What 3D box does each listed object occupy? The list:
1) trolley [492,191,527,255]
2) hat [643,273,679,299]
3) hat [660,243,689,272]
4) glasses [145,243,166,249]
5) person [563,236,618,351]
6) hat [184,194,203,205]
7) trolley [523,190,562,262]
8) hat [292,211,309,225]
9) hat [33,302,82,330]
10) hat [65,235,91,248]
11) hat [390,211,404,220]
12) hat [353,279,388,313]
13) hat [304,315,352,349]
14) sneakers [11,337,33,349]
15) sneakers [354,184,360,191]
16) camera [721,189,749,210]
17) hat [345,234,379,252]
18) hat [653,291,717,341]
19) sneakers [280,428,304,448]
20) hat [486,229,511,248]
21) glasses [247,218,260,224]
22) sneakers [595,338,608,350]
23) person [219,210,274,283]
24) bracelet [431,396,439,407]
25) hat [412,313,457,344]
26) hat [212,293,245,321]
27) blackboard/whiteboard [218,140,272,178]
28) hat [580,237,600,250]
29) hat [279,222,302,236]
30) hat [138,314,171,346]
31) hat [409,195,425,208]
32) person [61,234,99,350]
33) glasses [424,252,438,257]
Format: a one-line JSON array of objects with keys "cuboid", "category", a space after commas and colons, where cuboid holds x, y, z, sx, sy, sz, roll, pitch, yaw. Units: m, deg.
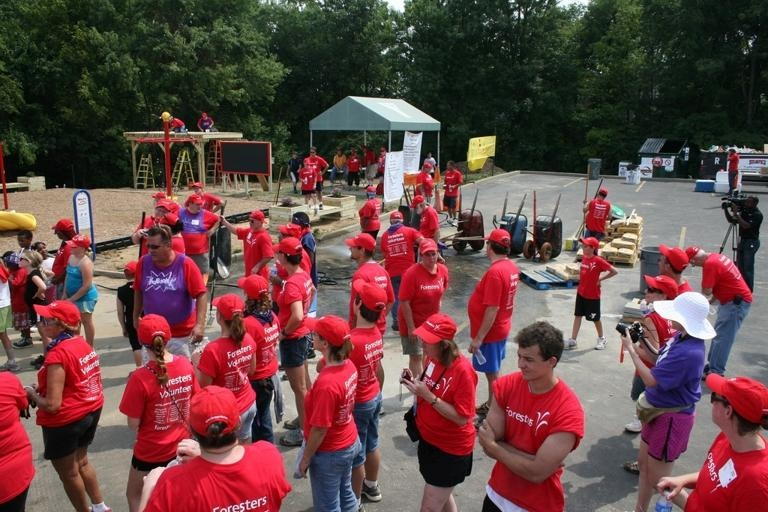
[{"cuboid": [3.693, -0.980, 19.352, 0.847, 1.329, 1.380, 10, 5, 15], "category": "trolley"}, {"cuboid": [4.227, 0.488, 10.007, 0.508, 0.278, 0.333, 23, 30, 23], "category": "hat"}, {"cuboid": [4.728, 0.075, 10.632, 0.353, 0.386, 0.741, 4, 8, 21], "category": "hat"}, {"cuboid": [-3.514, -0.122, 9.965, 0.251, 0.072, 0.111, 2, 8, 3], "category": "glasses"}, {"cuboid": [4.157, 0.775, 13.071, 0.827, 2.229, 0.942, 4, 8, 20], "category": "person"}, {"cuboid": [-3.931, -1.162, 13.794, 0.295, 0.255, 0.473, 3, 10, 12], "category": "hat"}, {"cuboid": [4.719, -0.850, 19.341, 1.064, 1.997, 1.755, 3, 8, 14], "category": "trolley"}, {"cuboid": [-1.639, -0.721, 12.602, 0.295, 0.160, 0.213, 28, 17, 23], "category": "hat"}, {"cuboid": [-4.268, 0.751, 8.605, 0.536, 0.289, 0.344, 25, 8, -30], "category": "hat"}, {"cuboid": [-5.474, -0.229, 11.702, 0.331, 0.189, 0.245, 10, 21, -24], "category": "hat"}, {"cuboid": [0.264, -0.828, 13.843, 0.237, 0.181, 0.399, 10, 0, 4], "category": "hat"}, {"cuboid": [-0.171, 0.576, 8.812, 0.338, 0.321, 0.341, -1, 8, -16], "category": "hat"}, {"cuboid": [-0.710, 0.931, 8.201, 0.495, 0.254, 0.323, 24, 20, 20], "category": "hat"}, {"cuboid": [-7.117, 1.771, 12.840, 0.369, 0.186, 0.161, -1, 11, -28], "category": "sneakers"}, {"cuboid": [-1.405, -3.546, 34.480, 0.269, 0.321, 0.275, 1, -2, -8], "category": "sneakers"}, {"cuboid": [7.973, -1.222, 14.888, 0.544, 0.372, 0.790, -1, 6, 6], "category": "camera"}, {"cuboid": [-0.414, -0.234, 11.263, 0.431, 0.236, 0.289, 10, 14, 3], "category": "hat"}, {"cuboid": [3.975, 0.774, 8.570, 0.658, 0.335, 0.683, 34, 26, 26], "category": "hat"}, {"cuboid": [-1.495, 2.897, 10.221, 0.457, 0.219, 0.186, 4, 9, -15], "category": "sneakers"}, {"cuboid": [1.821, -0.313, 10.619, 0.304, 0.236, 0.416, 5, 10, -28], "category": "hat"}, {"cuboid": [-2.506, -0.637, 12.692, 0.096, 0.067, 0.128, 27, -8, 46], "category": "glasses"}, {"cuboid": [4.368, 1.803, 13.108, 0.126, 0.152, 0.371, -4, 5, 37], "category": "sneakers"}, {"cuboid": [-2.481, -0.220, 12.736, 0.449, 1.229, 1.009, -2, 8, -22], "category": "person"}, {"cuboid": [0.616, 1.806, 7.933, 0.025, 0.091, 0.097, 21, 28, -14], "category": "bracelet"}, {"cuboid": [0.621, 0.921, 8.031, 0.457, 0.278, 0.317, -4, 12, -25], "category": "hat"}, {"cuboid": [-2.075, 0.690, 8.721, 0.353, 0.344, 0.277, -1, 8, -15], "category": "hat"}, {"cuboid": [-6.169, -4.296, 28.899, 2.768, 1.678, 0.295, 5, 11, 18], "category": "blackboard/whiteboard"}, {"cuboid": [4.102, -0.181, 12.892, 0.370, 0.201, 0.265, 12, 10, -10], "category": "hat"}, {"cuboid": [-1.730, -0.414, 11.830, 0.342, 0.184, 0.223, 14, 30, 1], "category": "hat"}, {"cuboid": [-2.959, 0.954, 8.368, 0.303, 0.264, 0.476, -9, 30, -24], "category": "hat"}, {"cuboid": [0.773, -1.282, 15.960, 0.382, 0.212, 0.275, 6, 32, 29], "category": "hat"}, {"cuboid": [-5.577, 0.737, 11.945, 0.660, 2.145, 0.641, 8, 11, 33], "category": "person"}, {"cuboid": [0.755, -0.007, 10.522, 0.240, 0.079, 0.111, -4, 9, -31], "category": "glasses"}]
